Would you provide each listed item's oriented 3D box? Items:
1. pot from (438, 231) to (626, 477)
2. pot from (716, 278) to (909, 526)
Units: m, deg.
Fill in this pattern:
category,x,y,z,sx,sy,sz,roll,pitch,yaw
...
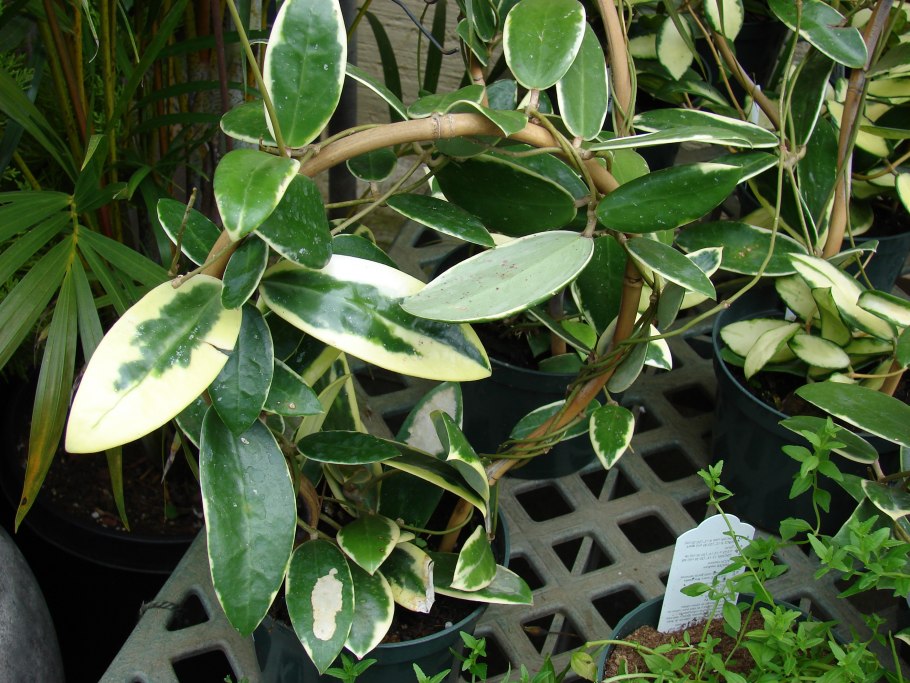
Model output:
category,x,y,z,sx,sy,sz,roll,pitch,yaw
pot,0.080,0.051,1.096,0.235,0.256,0.200,-31,-39,-35
pot,0.379,0.110,1.042,0.225,0.250,0.195,-38,-32,-34
